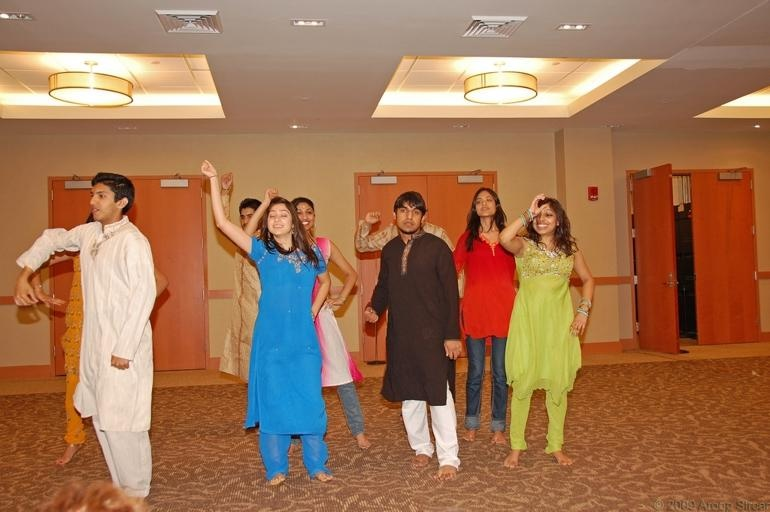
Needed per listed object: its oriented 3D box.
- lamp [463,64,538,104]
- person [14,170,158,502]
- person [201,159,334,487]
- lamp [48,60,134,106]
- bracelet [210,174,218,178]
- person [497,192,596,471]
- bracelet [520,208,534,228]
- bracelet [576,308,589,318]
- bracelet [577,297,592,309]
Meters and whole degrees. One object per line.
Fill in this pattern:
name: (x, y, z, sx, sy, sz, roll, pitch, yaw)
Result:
lamp: (1.685, -2.334, 7.927, 0.776, 0.176, 0.781, 0, 0, 1)
person: (-2.395, 0.706, 5.096, 0.671, 2.867, 0.628, 6, 11, 40)
person: (-0.986, 0.714, 5.268, 0.966, 2.731, 0.570, -2, 8, -6)
lamp: (-3.985, -2.395, 7.726, 1.039, 0.463, 1.034, -3, 5, -31)
bracelet: (-1.555, -0.720, 5.163, 0.038, 0.020, 0.235, -3, 8, -10)
person: (1.556, 0.681, 5.583, 0.902, 2.545, 0.658, -2, 8, -1)
bracelet: (1.383, -0.378, 5.598, 0.150, 0.161, 0.063, -1, 0, -7)
bracelet: (1.890, 0.521, 5.469, 0.105, 0.042, 0.101, 18, -12, 18)
bracelet: (1.941, 0.467, 5.570, 0.115, 0.082, 0.146, -1, 28, 11)
